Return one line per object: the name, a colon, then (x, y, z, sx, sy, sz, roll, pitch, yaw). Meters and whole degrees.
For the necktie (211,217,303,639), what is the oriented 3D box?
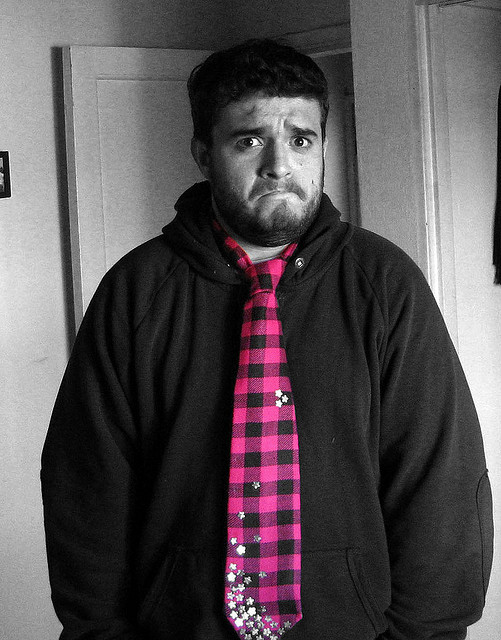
necktie: (0.019, 0.162, 0.998, 0.125, 0.588, 0.206, -1, 3, 3)
